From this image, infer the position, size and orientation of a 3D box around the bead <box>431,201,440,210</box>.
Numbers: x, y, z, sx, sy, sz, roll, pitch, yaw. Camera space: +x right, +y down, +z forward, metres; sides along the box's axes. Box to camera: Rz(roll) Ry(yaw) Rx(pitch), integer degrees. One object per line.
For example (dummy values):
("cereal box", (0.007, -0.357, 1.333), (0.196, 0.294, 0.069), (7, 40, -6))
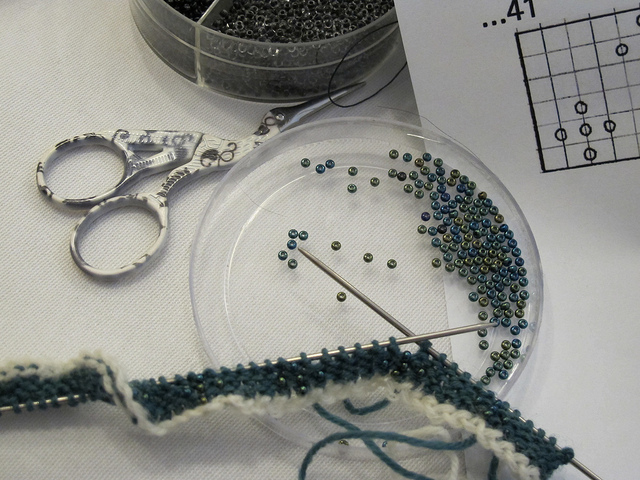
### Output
("bead", (0.253, -0.074, 1.715), (0.016, 0.009, 0.017), (-3, -101, 4))

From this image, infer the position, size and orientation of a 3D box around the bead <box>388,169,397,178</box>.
("bead", (0.160, -0.147, 1.738), (0.016, 0.009, 0.017), (-1, -95, 5))

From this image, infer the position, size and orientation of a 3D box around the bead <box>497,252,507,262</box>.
("bead", (0.388, 0.036, 1.674), (0.021, 0.012, 0.016), (-36, -70, 8))

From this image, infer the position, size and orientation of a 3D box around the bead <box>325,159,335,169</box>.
("bead", (0.018, -0.168, 1.748), (0.017, 0.011, 0.018), (6, -104, 9))

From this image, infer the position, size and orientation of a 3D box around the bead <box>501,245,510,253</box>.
("bead", (0.396, 0.021, 1.673), (0.020, 0.009, 0.013), (9, -70, -9))

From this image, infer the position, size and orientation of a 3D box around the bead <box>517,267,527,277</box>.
("bead", (0.427, 0.068, 1.660), (0.018, 0.008, 0.019), (-9, -93, -9))

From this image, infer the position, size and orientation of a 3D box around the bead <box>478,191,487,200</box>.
("bead", (0.353, -0.096, 1.708), (0.014, 0.010, 0.015), (-15, -113, -3))

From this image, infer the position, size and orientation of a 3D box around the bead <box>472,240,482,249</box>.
("bead", (0.335, 0.011, 1.681), (0.016, 0.007, 0.017), (-6, -98, 5))

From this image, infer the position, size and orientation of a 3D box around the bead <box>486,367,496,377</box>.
("bead", (0.351, 0.273, 1.614), (0.016, 0.009, 0.017), (3, -102, -16))

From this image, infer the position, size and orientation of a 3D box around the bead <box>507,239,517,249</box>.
("bead", (0.412, 0.009, 1.681), (0.018, 0.010, 0.018), (8, -110, 1))

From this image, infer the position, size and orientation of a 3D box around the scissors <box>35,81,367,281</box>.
("scissors", (-0.293, -0.127, 1.694), (0.610, 0.235, 0.271), (-15, -68, -1))

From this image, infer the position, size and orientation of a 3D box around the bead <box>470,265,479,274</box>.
("bead", (0.329, 0.064, 1.669), (0.018, 0.008, 0.018), (-2, -69, -6))

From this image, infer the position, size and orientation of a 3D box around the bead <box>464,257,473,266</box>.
("bead", (0.317, 0.048, 1.673), (0.014, 0.005, 0.015), (1, -113, 7))

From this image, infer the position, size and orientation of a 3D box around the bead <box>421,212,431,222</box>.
("bead", (0.230, -0.050, 1.710), (0.018, 0.010, 0.019), (-1, -94, -2))

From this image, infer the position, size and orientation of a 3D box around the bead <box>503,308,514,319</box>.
("bead", (0.398, 0.155, 1.645), (0.022, 0.009, 0.018), (4, -69, -8))

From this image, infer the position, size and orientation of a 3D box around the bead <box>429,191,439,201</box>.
("bead", (0.250, -0.096, 1.722), (0.016, 0.009, 0.016), (1, -98, 3))

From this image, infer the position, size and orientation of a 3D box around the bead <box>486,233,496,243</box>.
("bead", (0.368, -0.003, 1.681), (0.016, 0.006, 0.017), (-3, -102, 4))

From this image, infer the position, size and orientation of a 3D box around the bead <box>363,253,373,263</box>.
("bead", (0.103, 0.040, 1.685), (0.017, 0.009, 0.018), (-2, -84, -4))

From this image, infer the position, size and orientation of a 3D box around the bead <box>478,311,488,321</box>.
("bead", (0.343, 0.161, 1.653), (0.021, 0.016, 0.014), (-17, -68, 1))

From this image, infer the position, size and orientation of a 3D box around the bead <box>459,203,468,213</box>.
("bead", (0.313, -0.070, 1.711), (0.019, 0.011, 0.020), (-1, -86, 12))

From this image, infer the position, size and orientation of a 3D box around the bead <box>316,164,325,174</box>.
("bead", (0.001, -0.158, 1.743), (0.017, 0.010, 0.018), (0, -107, 1))

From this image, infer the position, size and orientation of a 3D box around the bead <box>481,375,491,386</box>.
("bead", (0.338, 0.288, 1.602), (0.017, 0.011, 0.018), (-8, -123, 8))

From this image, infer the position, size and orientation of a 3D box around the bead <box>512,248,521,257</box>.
("bead", (0.420, 0.027, 1.676), (0.016, 0.009, 0.017), (-12, -91, -5))

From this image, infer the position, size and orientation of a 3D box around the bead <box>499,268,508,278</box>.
("bead", (0.389, 0.070, 1.668), (0.017, 0.013, 0.017), (-4, -68, -4))

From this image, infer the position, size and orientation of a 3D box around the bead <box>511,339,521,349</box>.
("bead", (0.407, 0.217, 1.626), (0.021, 0.016, 0.016), (16, -71, -12))

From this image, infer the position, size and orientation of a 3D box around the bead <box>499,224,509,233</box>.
("bead", (0.395, -0.025, 1.686), (0.015, 0.014, 0.009), (-40, -52, 2))

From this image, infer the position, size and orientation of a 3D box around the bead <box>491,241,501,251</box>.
("bead", (0.377, 0.012, 1.677), (0.016, 0.006, 0.017), (5, -94, 4))

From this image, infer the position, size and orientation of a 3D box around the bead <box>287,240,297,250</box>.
("bead", (-0.062, 0.010, 1.689), (0.018, 0.010, 0.019), (-2, -95, -3))

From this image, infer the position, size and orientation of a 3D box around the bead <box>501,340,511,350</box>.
("bead", (0.386, 0.218, 1.630), (0.017, 0.017, 0.014), (1, -69, -6))

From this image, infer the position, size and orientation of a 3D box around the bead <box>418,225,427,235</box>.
("bead", (0.222, -0.022, 1.701), (0.017, 0.009, 0.017), (0, -85, -9))

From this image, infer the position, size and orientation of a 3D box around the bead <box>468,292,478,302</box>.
("bead", (0.324, 0.121, 1.656), (0.017, 0.010, 0.017), (-7, -93, -3))

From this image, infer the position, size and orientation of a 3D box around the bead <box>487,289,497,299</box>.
("bead", (0.363, 0.115, 1.659), (0.021, 0.010, 0.016), (-32, -69, 6))
